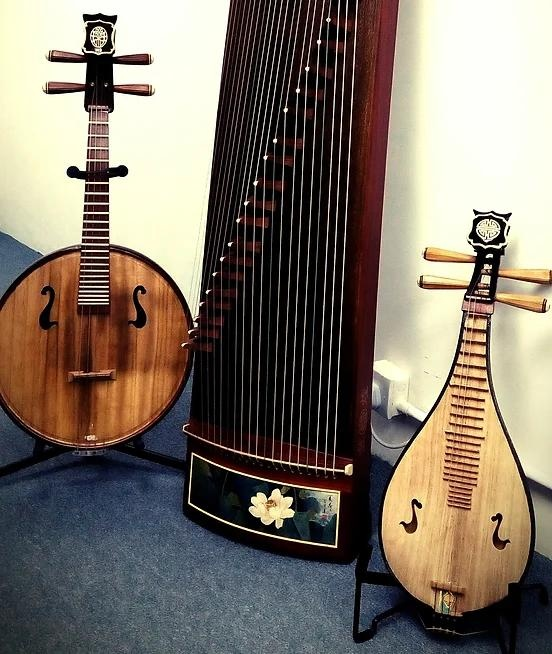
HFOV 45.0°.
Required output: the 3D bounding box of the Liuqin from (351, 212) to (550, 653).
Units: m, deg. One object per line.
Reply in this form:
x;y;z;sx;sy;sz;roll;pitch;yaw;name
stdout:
0.331;0.191;1.140;0.355;0.747;0.304;4;16;10;Liuqin
